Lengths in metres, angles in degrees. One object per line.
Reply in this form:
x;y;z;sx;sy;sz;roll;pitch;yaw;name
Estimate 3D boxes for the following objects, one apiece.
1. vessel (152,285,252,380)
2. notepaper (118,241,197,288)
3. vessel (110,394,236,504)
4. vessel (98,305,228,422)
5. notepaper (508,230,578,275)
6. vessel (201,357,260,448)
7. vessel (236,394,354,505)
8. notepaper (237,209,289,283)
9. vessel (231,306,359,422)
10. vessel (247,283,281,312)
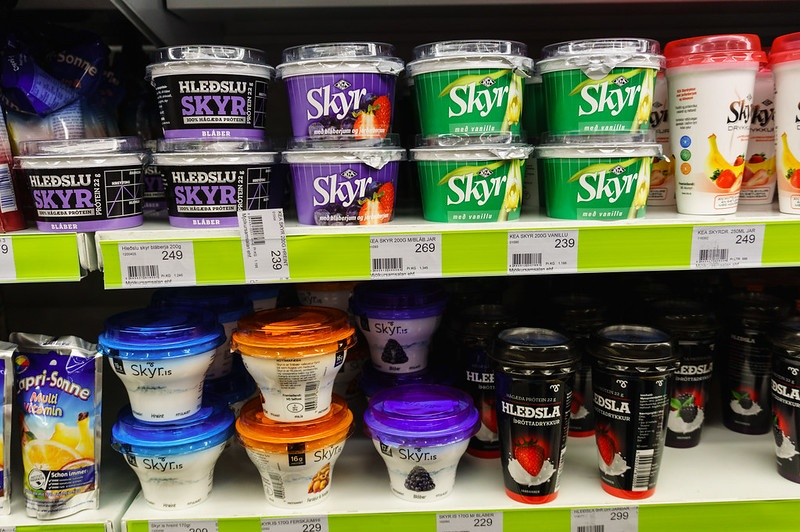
-0.621;0.199;2.161;0.314;0.230;0.301;1;11;-4;vessel
-0.642;-0.019;1.822;0.264;0.146;0.135;-3;3;-14;notepaper
-0.669;0.571;1.949;0.343;0.243;0.330;-2;2;1;vessel
-0.698;0.290;1.931;0.373;0.296;0.353;-4;9;-26;vessel
0.391;-0.036;1.792;0.219;0.116;0.126;2;-27;0;notepaper
-0.506;0.438;2.123;0.265;0.234;0.241;1;3;-6;vessel
-0.314;0.564;1.951;0.340;0.246;0.332;-1;2;9;vessel
-0.370;-0.056;1.771;0.135;0.194;0.058;-1;-9;-12;notepaper
-0.318;0.298;1.949;0.390;0.278;0.365;-3;6;-24;vessel
-0.452;0.102;2.167;0.088;0.062;0.085;3;6;12;vessel
